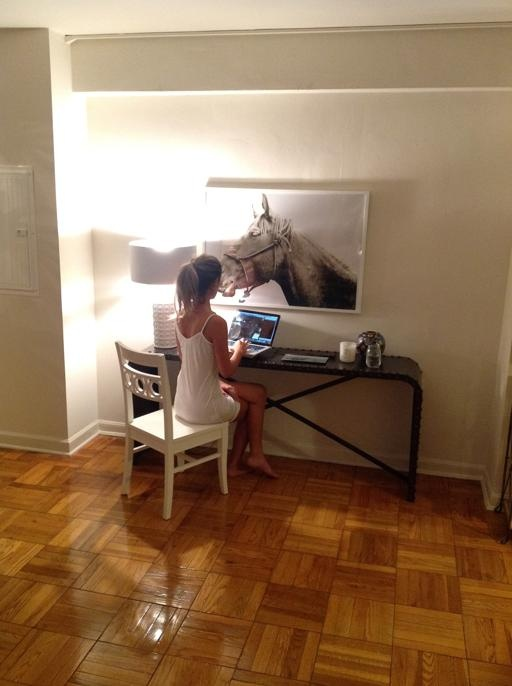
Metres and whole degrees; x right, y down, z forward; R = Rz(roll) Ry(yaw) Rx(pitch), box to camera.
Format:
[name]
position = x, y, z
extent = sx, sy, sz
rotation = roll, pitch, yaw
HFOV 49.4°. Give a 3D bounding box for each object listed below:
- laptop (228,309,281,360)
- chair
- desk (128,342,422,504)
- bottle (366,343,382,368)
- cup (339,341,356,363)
[laptop]
position = -0.015, -0.081, 3.154
extent = 0.291, 0.207, 0.256
rotation = 9, 23, 18
[chair]
position = -0.403, 0.388, 2.744
extent = 0.401, 0.751, 0.450
rotation = 9, 10, 40
[desk]
position = 0.103, 0.382, 3.077
extent = 1.531, 0.622, 0.355
rotation = 5, 10, 15
[bottle]
position = 0.594, 0.063, 2.828
extent = 0.073, 0.125, 0.086
rotation = 2, 11, 5
[cup]
position = 0.493, 0.056, 2.973
extent = 0.091, 0.097, 0.103
rotation = 3, 5, 11
